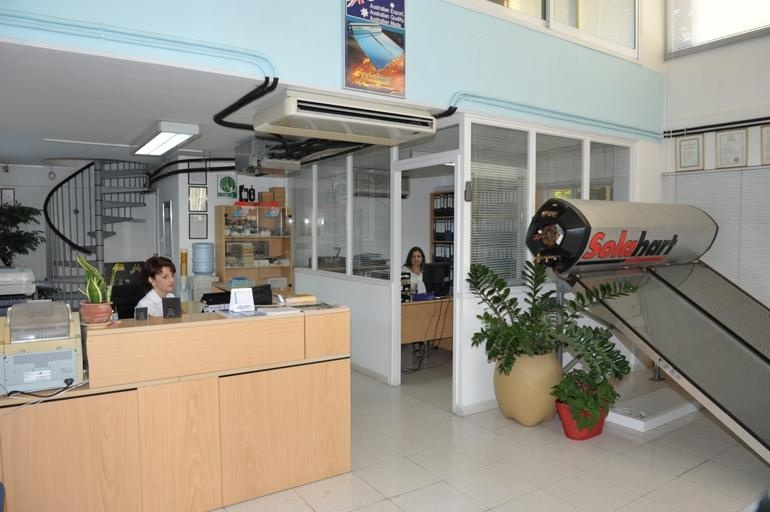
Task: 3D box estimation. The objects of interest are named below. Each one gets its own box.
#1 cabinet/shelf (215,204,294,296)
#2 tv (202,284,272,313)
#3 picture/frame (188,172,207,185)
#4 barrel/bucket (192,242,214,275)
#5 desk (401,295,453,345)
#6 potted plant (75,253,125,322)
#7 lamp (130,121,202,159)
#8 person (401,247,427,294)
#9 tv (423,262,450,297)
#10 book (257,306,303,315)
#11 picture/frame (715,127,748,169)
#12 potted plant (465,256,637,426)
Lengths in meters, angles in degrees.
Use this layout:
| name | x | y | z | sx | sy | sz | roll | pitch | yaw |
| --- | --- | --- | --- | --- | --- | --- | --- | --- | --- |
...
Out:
| name | x | y | z | sx | sy | sz | roll | pitch | yaw |
| --- | --- | --- | --- | --- | --- | --- | --- | --- | --- |
| cabinet/shelf | -2.266 | -0.229 | 8.399 | 1.672 | 1.398 | 0.662 | 3 | 12 | 17 |
| tv | -1.326 | 0.372 | 4.360 | 0.630 | 0.212 | 0.320 | -4 | 12 | -17 |
| picture/frame | -3.488 | -1.461 | 8.891 | 0.267 | 0.233 | 0.070 | 0 | 5 | -20 |
| barrel/bucket | -3.210 | 0.023 | 8.729 | 0.527 | 0.740 | 0.514 | 0 | 3 | 0 |
| desk | 0.559 | 0.867 | 6.512 | 1.083 | 0.492 | 0.583 | -2 | 6 | -33 |
| potted plant | -2.227 | 0.268 | 3.739 | 0.299 | 0.499 | 0.224 | 2 | 6 | -29 |
| lamp | -2.562 | -1.393 | 5.618 | 0.439 | 0.340 | 1.223 | -9 | 14 | -37 |
| person | 0.445 | 0.198 | 7.058 | 0.299 | 0.588 | 0.705 | 0 | 11 | 2 |
| tv | 0.735 | 0.331 | 6.800 | 0.501 | 0.488 | 0.182 | 0 | 6 | -13 |
| book | -0.940 | 0.470 | 4.245 | 0.373 | 0.021 | 0.298 | -4 | 12 | -20 |
| picture/frame | 4.387 | -1.371 | 6.058 | 0.346 | 0.473 | 0.132 | 9 | 15 | 37 |
| potted plant | 1.872 | 0.775 | 5.550 | 1.958 | 1.189 | 1.751 | 4 | 5 | 19 |
